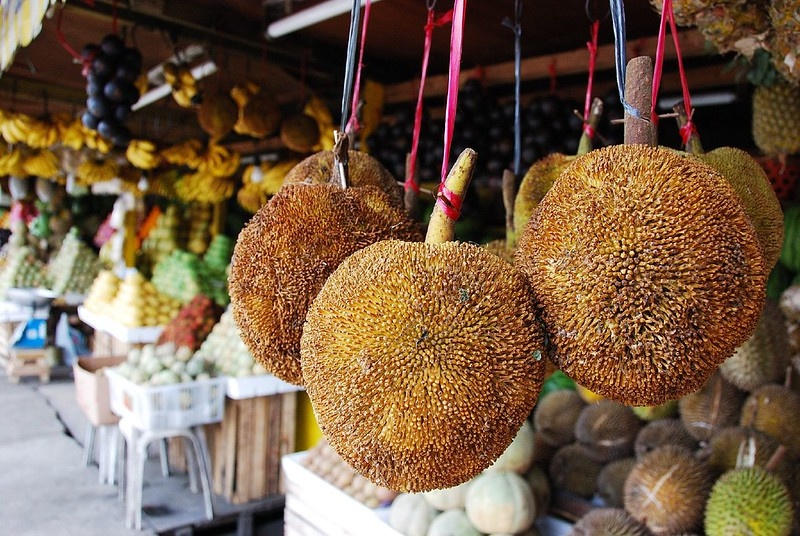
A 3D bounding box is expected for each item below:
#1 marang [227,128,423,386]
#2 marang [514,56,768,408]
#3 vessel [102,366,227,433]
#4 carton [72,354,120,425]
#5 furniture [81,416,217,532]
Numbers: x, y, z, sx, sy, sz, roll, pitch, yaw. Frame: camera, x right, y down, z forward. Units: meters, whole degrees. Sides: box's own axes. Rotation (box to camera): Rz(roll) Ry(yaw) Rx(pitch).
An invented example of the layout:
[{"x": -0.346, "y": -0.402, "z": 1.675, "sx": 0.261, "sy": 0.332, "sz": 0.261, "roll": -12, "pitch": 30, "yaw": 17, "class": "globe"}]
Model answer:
[{"x": -0.259, "y": -0.041, "z": 2.522, "sx": 0.625, "sy": 0.797, "sz": 0.382, "roll": 24, "pitch": -7, "yaw": 2, "class": "marang"}, {"x": 0.787, "y": -0.134, "z": 2.372, "sx": 0.814, "sy": 1.155, "sz": 0.802, "roll": 0, "pitch": 6, "yaw": -18, "class": "marang"}, {"x": -1.382, "y": 0.811, "z": 4.516, "sx": 0.530, "sy": 0.260, "sz": 0.699, "roll": -4, "pitch": 4, "yaw": -23, "class": "vessel"}, {"x": -2.112, "y": 0.876, "z": 4.721, "sx": 0.298, "sy": 0.348, "sz": 0.504, "roll": 12, "pitch": -21, "yaw": -18, "class": "carton"}, {"x": -1.551, "y": 1.249, "z": 4.482, "sx": 0.542, "sy": 0.661, "sz": 0.893, "roll": 2, "pitch": 0, "yaw": -32, "class": "furniture"}]
